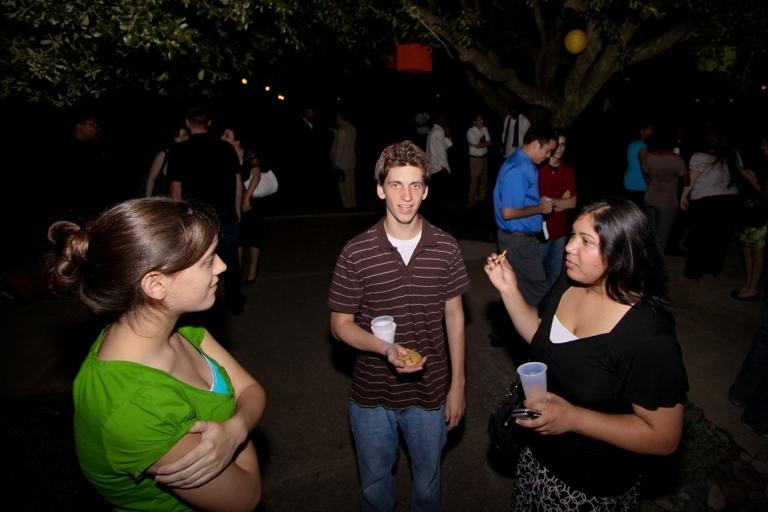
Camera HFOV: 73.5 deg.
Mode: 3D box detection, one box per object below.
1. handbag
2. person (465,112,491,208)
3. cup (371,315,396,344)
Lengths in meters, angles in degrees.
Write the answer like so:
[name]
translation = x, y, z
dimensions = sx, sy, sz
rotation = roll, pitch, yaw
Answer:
[handbag]
translation = 0.920, 1.254, 4.184
dimensions = 0.334, 0.784, 1.031
rotation = -2, 1, 6
[person]
translation = 2.366, -2.314, 12.876
dimensions = 0.564, 2.355, 0.993
rotation = 1, 15, 10
[cup]
translation = -0.011, 0.534, 3.897
dimensions = 0.178, 0.200, 0.182
rotation = -11, 5, 1
